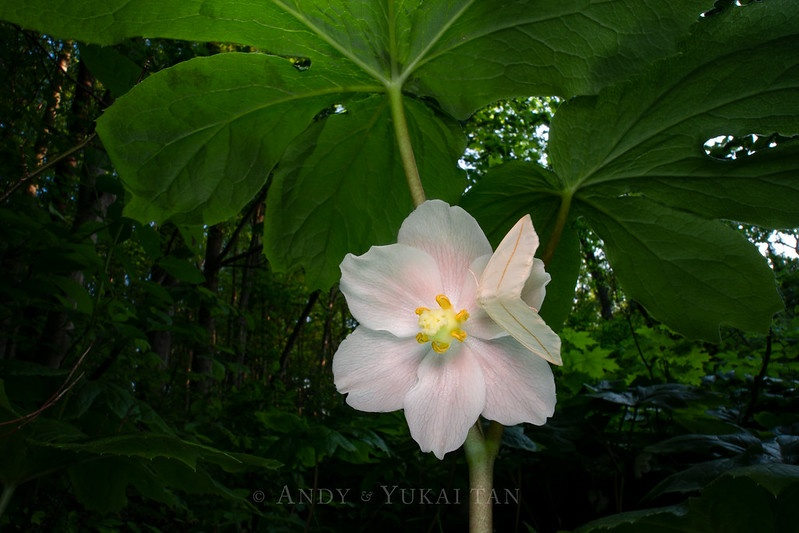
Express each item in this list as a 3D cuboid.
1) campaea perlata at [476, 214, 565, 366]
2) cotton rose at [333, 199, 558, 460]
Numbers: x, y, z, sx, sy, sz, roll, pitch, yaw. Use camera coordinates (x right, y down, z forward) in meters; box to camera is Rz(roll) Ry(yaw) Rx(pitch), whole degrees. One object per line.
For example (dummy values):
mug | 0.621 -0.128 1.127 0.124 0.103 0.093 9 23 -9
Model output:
campaea perlata | 0.202 0.047 0.932 0.124 0.268 0.082 -11 9 17
cotton rose | 0.105 0.122 1.173 0.401 0.538 0.434 6 7 15
